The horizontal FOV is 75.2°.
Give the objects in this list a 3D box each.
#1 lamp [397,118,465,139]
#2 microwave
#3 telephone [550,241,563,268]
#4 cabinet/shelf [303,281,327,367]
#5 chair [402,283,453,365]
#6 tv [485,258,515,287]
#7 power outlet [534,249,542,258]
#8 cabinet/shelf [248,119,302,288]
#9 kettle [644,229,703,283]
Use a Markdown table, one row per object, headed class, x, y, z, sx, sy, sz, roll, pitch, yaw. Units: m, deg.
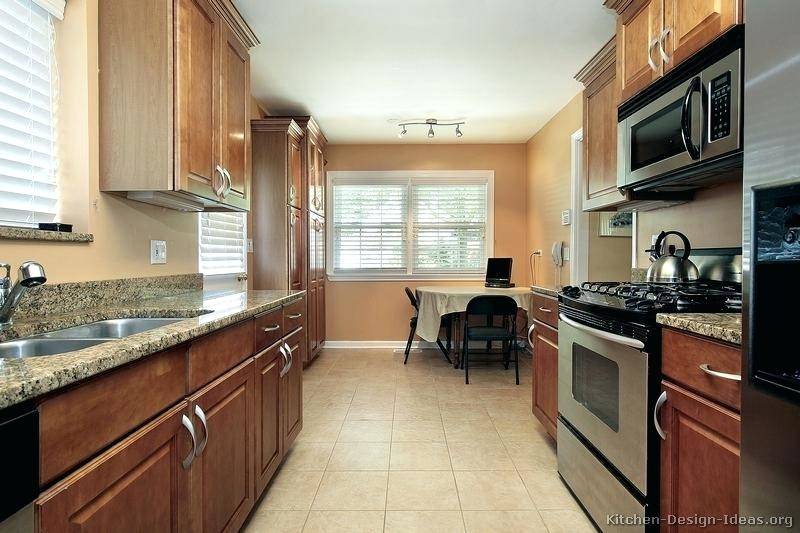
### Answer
| class | x | y | z | sx | sy | sz | roll | pitch | yaw |
| --- | --- | --- | --- | --- | --- | --- | --- | --- | --- |
| lamp | 0.341 | -1.495 | 5.651 | 0.724 | 0.157 | 0.664 | 1 | 8 | 5 |
| microwave | 1.300 | -0.650 | 2.437 | 0.367 | 0.368 | 0.726 | 1 | -2 | -4 |
| telephone | 1.585 | -0.131 | 5.203 | 0.084 | 0.270 | 0.214 | -1 | 8 | -5 |
| cabinet/shelf | -0.892 | 0.597 | 5.398 | 0.295 | 0.748 | 0.853 | 0 | 1 | -1 |
| chair | 0.339 | 0.660 | 5.950 | 0.733 | 1.082 | 0.606 | -1 | -2 | 0 |
| tv | 1.130 | 0.064 | 5.909 | 0.162 | 0.299 | 0.294 | 11 | -11 | -38 |
| power outlet | 1.578 | -0.159 | 5.899 | 0.053 | 0.066 | 0.103 | 2 | -2 | -13 |
| cabinet/shelf | -1.154 | -0.559 | 4.853 | 0.444 | 1.596 | 0.537 | -1 | 8 | -7 |
| kettle | 1.484 | -0.059 | 2.877 | 0.278 | 0.294 | 0.286 | 0 | 2 | -29 |
